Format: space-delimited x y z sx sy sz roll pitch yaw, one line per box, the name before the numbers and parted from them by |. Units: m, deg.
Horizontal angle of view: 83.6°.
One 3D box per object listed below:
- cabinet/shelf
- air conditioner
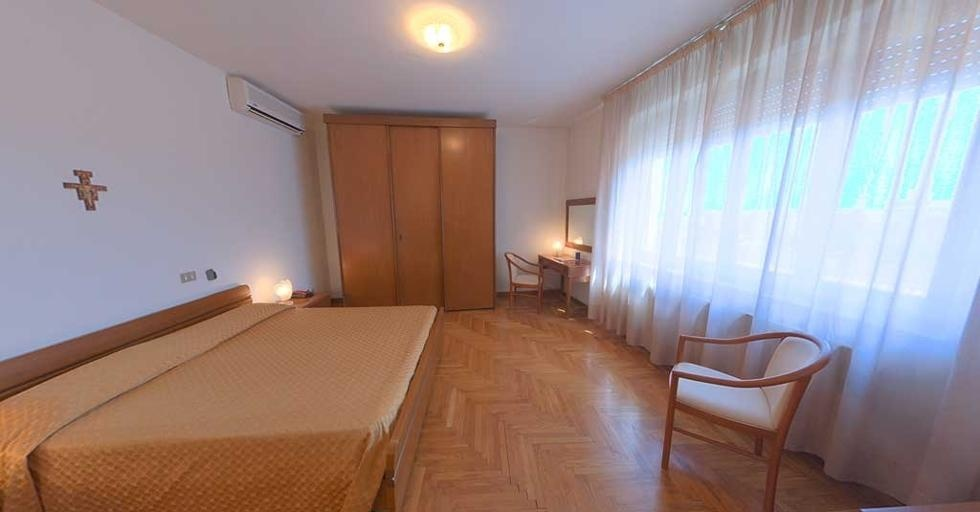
cabinet/shelf | -1.062 -0.687 7.209 2.908 3.127 1.239 0 16 -6
air conditioner | -2.578 -1.757 6.402 0.207 0.520 0.993 3 7 22
